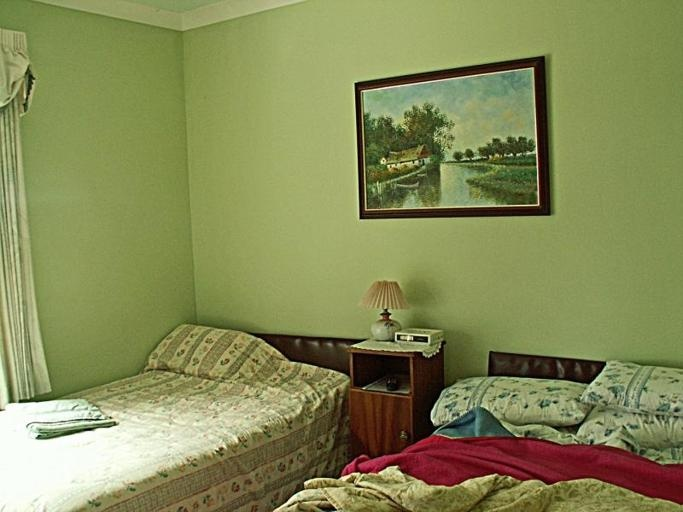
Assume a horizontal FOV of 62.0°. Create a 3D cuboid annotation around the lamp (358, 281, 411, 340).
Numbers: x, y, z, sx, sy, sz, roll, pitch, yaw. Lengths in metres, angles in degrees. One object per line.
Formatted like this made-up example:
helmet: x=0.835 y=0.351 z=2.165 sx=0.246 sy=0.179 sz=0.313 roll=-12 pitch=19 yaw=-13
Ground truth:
lamp: x=0.286 y=0.354 z=3.837 sx=0.299 sy=0.403 sz=0.335 roll=0 pitch=8 yaw=3
